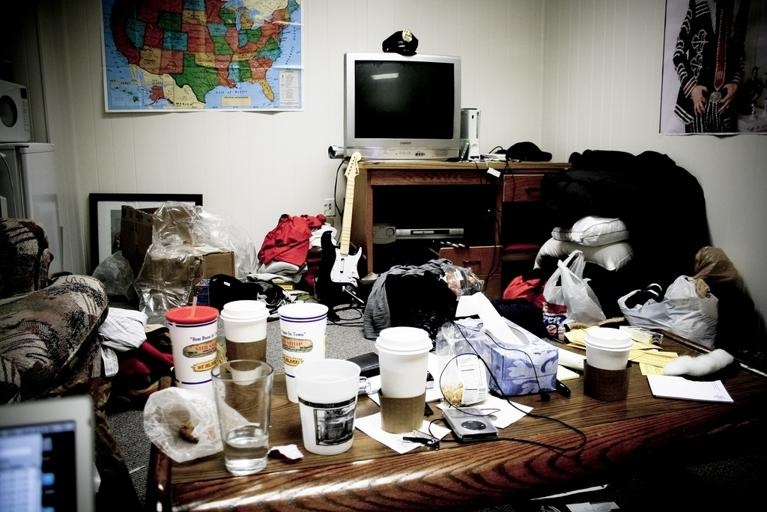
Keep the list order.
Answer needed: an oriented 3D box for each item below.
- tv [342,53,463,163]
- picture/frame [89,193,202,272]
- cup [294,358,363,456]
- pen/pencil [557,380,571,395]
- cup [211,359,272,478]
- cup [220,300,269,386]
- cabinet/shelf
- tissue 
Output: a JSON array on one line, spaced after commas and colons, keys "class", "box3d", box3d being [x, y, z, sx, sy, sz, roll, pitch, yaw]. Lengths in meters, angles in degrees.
[{"class": "tv", "box3d": [0.098, -1.014, 3.997, 1.171, 0.966, 0.661, 0, 7, -6]}, {"class": "picture/frame", "box3d": [-1.629, -0.146, 3.638, 0.587, 0.539, 0.023, -1, 6, -7]}, {"class": "cup", "box3d": [-0.129, 0.370, 1.373, 0.209, 0.222, 0.201, 0, 13, 0]}, {"class": "pen/pencil", "box3d": [0.506, 0.374, 1.507, 0.023, 0.014, 0.040, 4, 0, -11]}, {"class": "cup", "box3d": [-0.326, 0.377, 1.272, 0.133, 0.224, 0.151, -5, 12, -18]}, {"class": "cup", "box3d": [-0.370, 0.227, 1.442, 0.163, 0.194, 0.160, 0, 13, 0]}, {"class": "cabinet/shelf", "box3d": [0.487, -0.240, 3.943, 1.454, 0.911, 0.847, -2, 11, -5]}, {"class": "tissue ", "box3d": [0.340, 0.237, 1.587, 0.193, 0.123, 0.345, -8, 20, -22]}]
